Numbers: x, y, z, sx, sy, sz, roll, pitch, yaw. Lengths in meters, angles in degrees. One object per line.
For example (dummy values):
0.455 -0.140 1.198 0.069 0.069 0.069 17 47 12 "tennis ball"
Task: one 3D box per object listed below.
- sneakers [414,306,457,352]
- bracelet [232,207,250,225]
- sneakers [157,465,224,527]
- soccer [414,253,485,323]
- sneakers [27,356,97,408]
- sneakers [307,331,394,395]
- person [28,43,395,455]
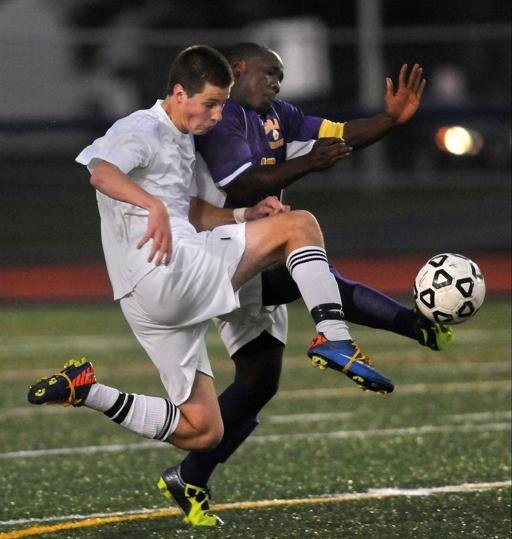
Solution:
0.785 0.262 3.708 0.070 0.206 0.153 -58 15 -27 "sneakers"
-0.069 -0.230 3.758 0.086 0.065 0.076 3 17 11 "bracelet"
-0.272 0.976 3.767 0.158 0.217 0.318 -4 6 -36 "sneakers"
0.808 0.095 3.776 0.355 0.307 0.327 -7 -16 32 "soccer"
-0.738 0.447 3.509 0.145 0.117 0.326 19 28 37 "sneakers"
0.354 0.358 3.252 0.318 0.225 0.133 0 5 3 "sneakers"
-0.236 -0.066 3.458 1.260 1.660 0.473 1 5 7 "person"
